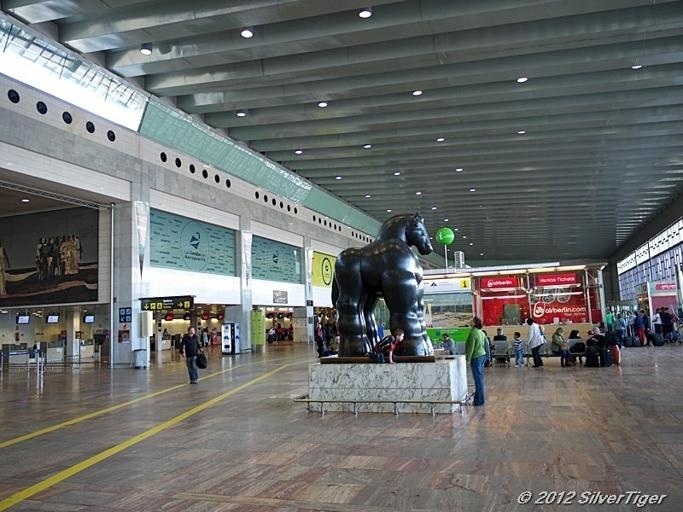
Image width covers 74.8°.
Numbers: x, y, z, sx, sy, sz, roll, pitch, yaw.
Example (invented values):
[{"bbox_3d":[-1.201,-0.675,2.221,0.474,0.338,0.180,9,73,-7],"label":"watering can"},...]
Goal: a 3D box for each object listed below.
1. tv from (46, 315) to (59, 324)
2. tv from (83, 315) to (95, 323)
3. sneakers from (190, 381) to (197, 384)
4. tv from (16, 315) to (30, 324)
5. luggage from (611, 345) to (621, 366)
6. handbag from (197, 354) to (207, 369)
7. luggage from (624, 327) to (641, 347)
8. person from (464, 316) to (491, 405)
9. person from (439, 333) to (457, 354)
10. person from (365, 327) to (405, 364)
[{"bbox_3d":[-18.358,3.969,28.351,0.833,0.663,0.403,3,5,-14],"label":"tv"},{"bbox_3d":[-16.174,3.999,28.599,0.395,0.558,0.777,4,0,37],"label":"tv"},{"bbox_3d":[-4.544,3.884,13.761,0.211,0.082,0.074,-8,-10,24],"label":"sneakers"},{"bbox_3d":[-19.516,3.843,27.309,0.867,0.516,0.421,1,-14,-2],"label":"tv"},{"bbox_3d":[9.424,3.373,15.256,0.237,0.671,0.363,-7,-10,24],"label":"luggage"},{"bbox_3d":[-4.366,3.253,13.969,0.300,0.459,0.621,1,-9,-21],"label":"handbag"},{"bbox_3d":[16.450,4.562,25.077,0.583,1.380,1.084,-12,-16,43],"label":"luggage"},{"bbox_3d":[2.977,2.219,9.689,0.413,1.767,1.341,-5,-9,15],"label":"person"},{"bbox_3d":[3.837,3.087,15.800,0.448,0.684,1.042,-4,-9,11],"label":"person"},{"bbox_3d":[0.942,1.807,9.060,0.709,0.647,0.508,-3,-9,6],"label":"person"}]
